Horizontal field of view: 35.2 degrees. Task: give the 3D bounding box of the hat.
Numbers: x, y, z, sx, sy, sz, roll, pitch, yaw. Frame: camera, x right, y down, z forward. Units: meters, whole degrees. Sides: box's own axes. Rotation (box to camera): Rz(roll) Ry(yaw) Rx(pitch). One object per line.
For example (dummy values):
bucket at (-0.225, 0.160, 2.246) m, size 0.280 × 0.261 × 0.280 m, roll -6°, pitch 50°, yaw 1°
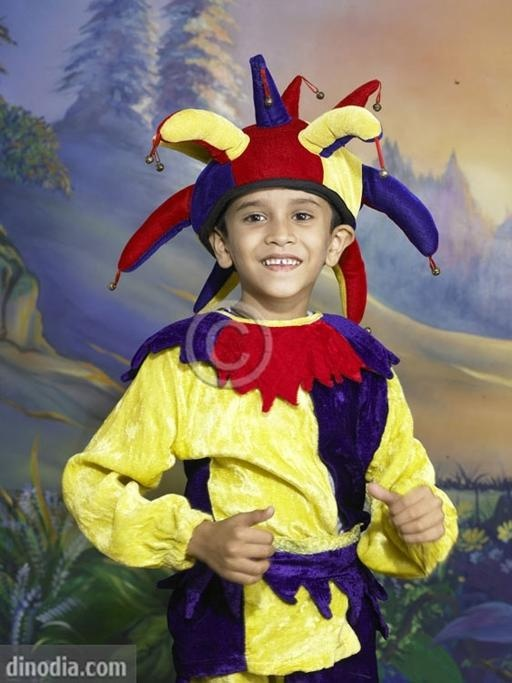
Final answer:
hat at (0.020, -0.293, 1.656) m, size 0.792 × 0.433 × 0.564 m, roll 2°, pitch -7°, yaw -6°
